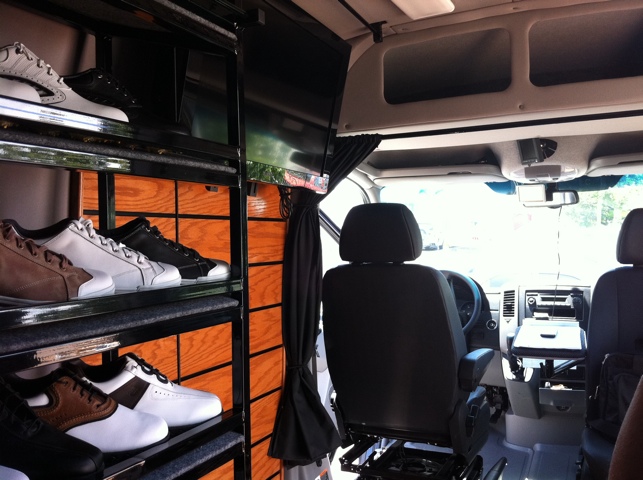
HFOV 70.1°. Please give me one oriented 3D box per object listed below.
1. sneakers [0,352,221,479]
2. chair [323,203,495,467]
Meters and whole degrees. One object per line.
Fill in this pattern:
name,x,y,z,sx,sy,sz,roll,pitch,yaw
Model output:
sneakers,-0.564,0.403,1.184,0.353,0.118,0.274,16,1,4
chair,0.472,0.541,2.591,0.846,1.206,1.042,-1,-9,27
